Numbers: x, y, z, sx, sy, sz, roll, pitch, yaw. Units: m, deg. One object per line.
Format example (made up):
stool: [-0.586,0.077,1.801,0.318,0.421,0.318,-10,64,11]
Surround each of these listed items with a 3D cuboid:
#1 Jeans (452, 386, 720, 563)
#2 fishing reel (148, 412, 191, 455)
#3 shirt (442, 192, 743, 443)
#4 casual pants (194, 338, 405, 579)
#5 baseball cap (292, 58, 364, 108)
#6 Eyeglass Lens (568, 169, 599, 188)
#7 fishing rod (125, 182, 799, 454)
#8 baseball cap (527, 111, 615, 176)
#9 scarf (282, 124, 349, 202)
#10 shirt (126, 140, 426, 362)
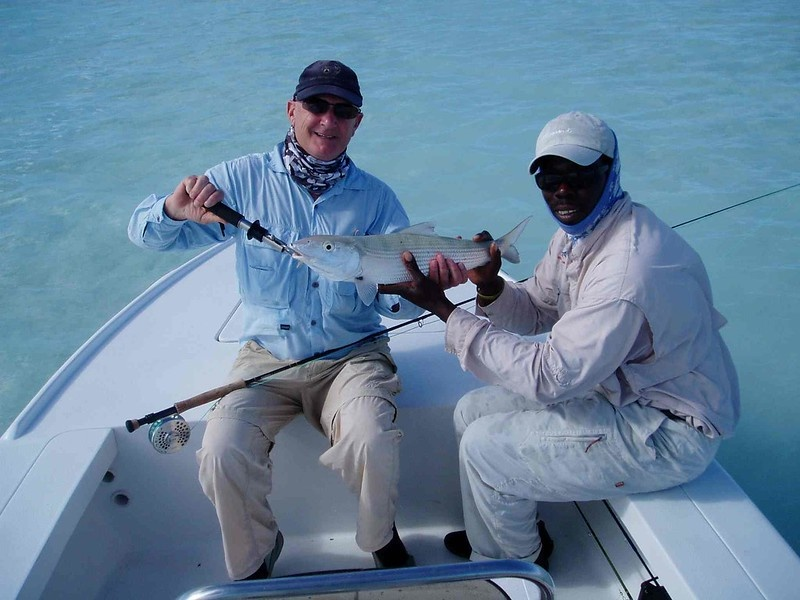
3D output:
Jeans: [0.949,0.809,3.916,1.229,0.858,0.746,5,12,10]
fishing reel: [-1.113,0.656,3.542,0.185,0.184,0.100,-9,16,-30]
shirt: [0.960,0.019,3.845,1.430,1.088,1.129,0,9,8]
casual pants: [-0.469,0.810,3.823,1.020,0.664,1.039,-8,37,-1]
baseball cap: [-0.397,-1.133,3.864,0.351,0.221,0.254,-9,37,-3]
Eyeglass Lens: [0.854,-0.571,3.426,0.100,0.031,0.104,-5,19,35]
fishing rod: [0.325,0.146,3.960,4.594,0.360,0.411,-20,24,-8]
baseball cap: [0.824,-0.735,3.466,0.396,0.262,0.239,5,39,15]
scarf: [-0.458,-0.727,3.910,0.297,0.220,0.372,8,10,-8]
shirt: [-0.719,-0.237,4.298,1.730,1.172,0.887,17,10,-11]
